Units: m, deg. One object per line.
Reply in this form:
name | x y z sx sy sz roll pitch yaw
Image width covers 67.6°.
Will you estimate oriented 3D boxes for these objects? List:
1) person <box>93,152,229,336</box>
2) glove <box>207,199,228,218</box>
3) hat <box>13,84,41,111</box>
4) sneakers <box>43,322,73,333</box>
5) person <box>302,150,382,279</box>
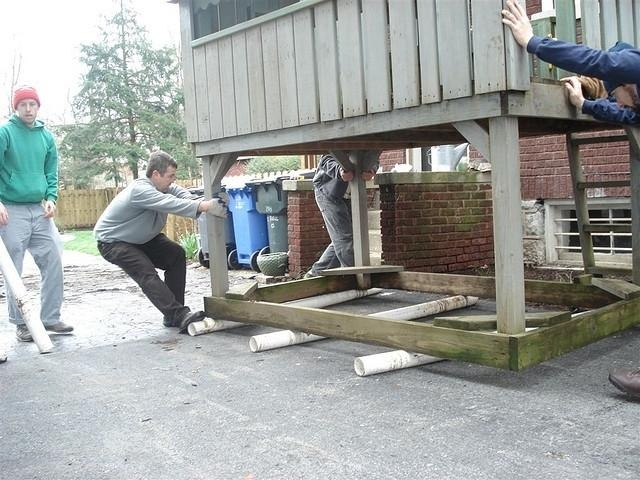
person | -1.927 0.000 5.750 1.480 2.099 0.706 -2 6 26
glove | -1.204 -0.372 5.606 0.224 0.233 0.206 -5 5 -13
hat | -3.244 -1.531 5.175 0.280 0.240 0.252 21 26 29
sneakers | -2.975 0.996 5.528 0.382 0.153 0.120 1 6 -6
person | 0.328 -0.336 7.300 0.928 1.959 1.494 -5 5 -12
